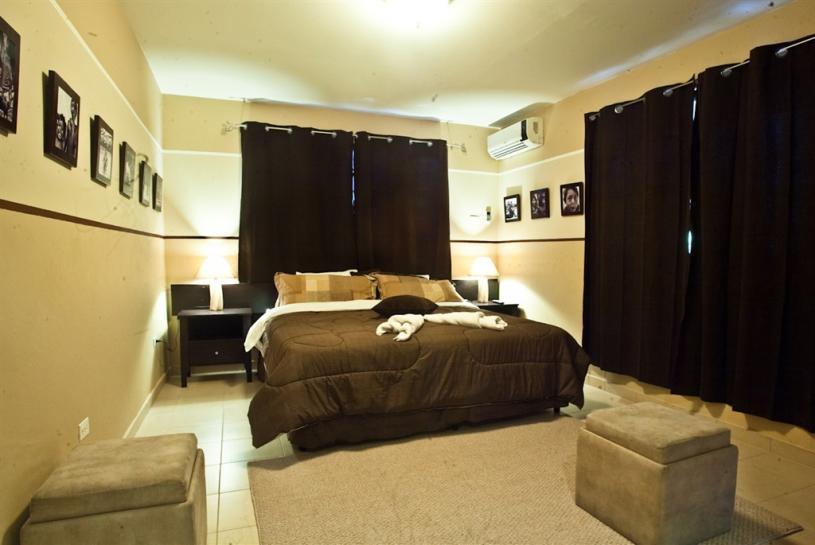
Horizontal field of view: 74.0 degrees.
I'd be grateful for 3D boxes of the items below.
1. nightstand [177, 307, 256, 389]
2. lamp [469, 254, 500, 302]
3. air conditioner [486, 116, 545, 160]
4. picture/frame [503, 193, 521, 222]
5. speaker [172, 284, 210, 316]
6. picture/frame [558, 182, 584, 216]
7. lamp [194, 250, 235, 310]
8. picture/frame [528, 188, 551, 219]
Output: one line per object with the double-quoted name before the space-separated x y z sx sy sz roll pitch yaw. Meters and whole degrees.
"nightstand" -2.068 0.690 5.767 0.894 0.965 0.723 1 -4 -24
"lamp" 0.899 0.076 6.494 0.469 0.739 0.477 0 3 15
"air conditioner" 1.282 -1.608 6.419 0.318 0.460 0.744 -7 15 -22
"picture/frame" 1.283 -0.816 6.699 0.080 0.431 0.381 -2 2 -23
"speaker" -2.297 0.255 5.704 0.339 0.302 0.316 0 5 -14
"picture/frame" 1.738 -0.791 5.767 0.048 0.457 0.367 -2 4 -29
"lamp" -2.016 0.092 5.715 0.348 0.576 0.473 -6 15 -18
"picture/frame" 1.508 -0.800 6.197 0.034 0.446 0.386 -3 0 -24
